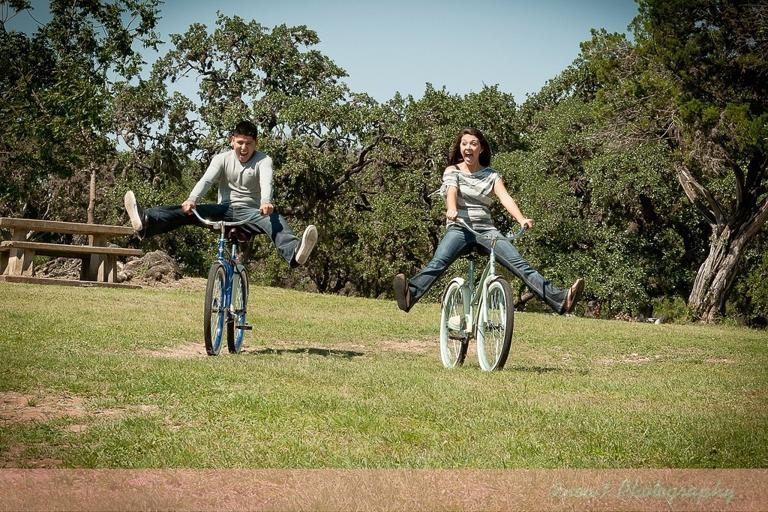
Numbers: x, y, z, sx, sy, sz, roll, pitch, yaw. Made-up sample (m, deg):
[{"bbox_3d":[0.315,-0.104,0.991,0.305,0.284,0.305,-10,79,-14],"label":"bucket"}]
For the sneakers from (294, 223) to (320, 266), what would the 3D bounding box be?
[{"bbox_3d":[-1.114,-0.147,10.461,0.246,0.665,0.267,14,24,-27],"label":"sneakers"}]

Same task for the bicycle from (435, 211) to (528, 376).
[{"bbox_3d":[1.406,0.610,10.591,1.008,1.521,1.561,4,2,3],"label":"bicycle"}]

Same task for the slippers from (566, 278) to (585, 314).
[{"bbox_3d":[2.631,0.532,9.962,0.186,0.520,0.183,8,14,-40],"label":"slippers"}]

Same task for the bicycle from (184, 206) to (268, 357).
[{"bbox_3d":[-2.351,0.409,10.629,0.771,2.185,1.542,4,2,12],"label":"bicycle"}]

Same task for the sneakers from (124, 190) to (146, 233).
[{"bbox_3d":[-3.650,-0.626,10.450,0.240,0.648,0.270,-12,0,24],"label":"sneakers"}]
